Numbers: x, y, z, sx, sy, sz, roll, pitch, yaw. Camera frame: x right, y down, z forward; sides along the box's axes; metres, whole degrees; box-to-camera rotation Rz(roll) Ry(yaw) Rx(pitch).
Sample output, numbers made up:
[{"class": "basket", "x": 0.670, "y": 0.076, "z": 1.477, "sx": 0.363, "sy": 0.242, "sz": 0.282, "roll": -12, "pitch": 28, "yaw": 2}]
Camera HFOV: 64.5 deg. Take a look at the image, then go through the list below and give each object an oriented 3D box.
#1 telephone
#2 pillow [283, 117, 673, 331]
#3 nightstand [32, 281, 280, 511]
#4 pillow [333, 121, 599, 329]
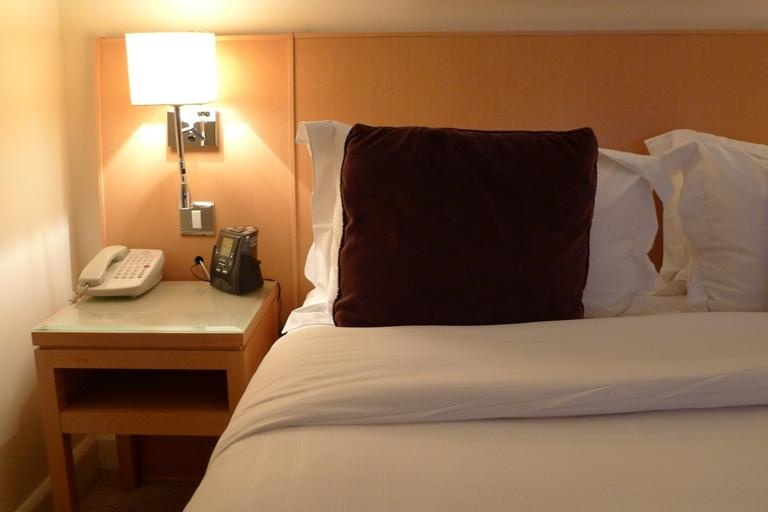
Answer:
[{"class": "telephone", "x": -1.040, "y": 0.065, "z": 2.372, "sx": 0.278, "sy": 0.119, "sz": 0.336, "roll": 4, "pitch": 18, "yaw": 7}, {"class": "pillow", "x": 0.307, "y": -0.104, "z": 2.410, "sx": 1.063, "sy": 0.693, "sz": 0.296, "roll": 0, "pitch": -4, "yaw": 28}, {"class": "nightstand", "x": -0.651, "y": 0.345, "z": 2.470, "sx": 1.046, "sy": 1.073, "sz": 0.744, "roll": -1, "pitch": 17, "yaw": -2}, {"class": "pillow", "x": 0.290, "y": -0.110, "z": 2.126, "sx": 0.879, "sy": 0.707, "sz": 0.294, "roll": -1, "pitch": 3, "yaw": -3}]
